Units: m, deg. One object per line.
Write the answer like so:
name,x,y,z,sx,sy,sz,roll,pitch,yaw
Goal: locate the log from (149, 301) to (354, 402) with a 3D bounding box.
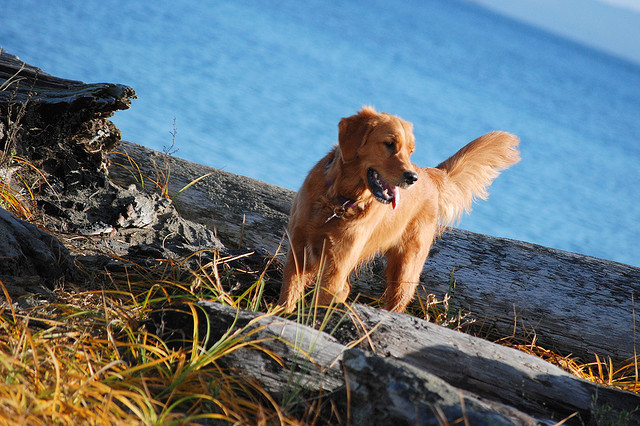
log,-0.726,1.422,8.839,2.522,0.664,0.527,7,25,10
